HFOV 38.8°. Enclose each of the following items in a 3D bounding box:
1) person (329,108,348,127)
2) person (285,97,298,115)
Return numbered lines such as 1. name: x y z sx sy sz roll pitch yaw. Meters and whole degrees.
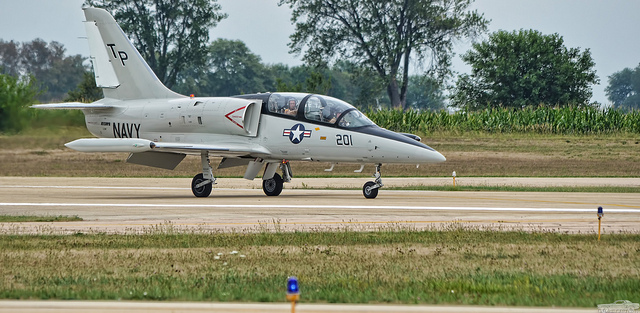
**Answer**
1. person: 1.543 -3.366 77.024 1.428 1.434 0.609 -1 14 0
2. person: -2.432 -4.266 77.661 1.794 1.538 0.988 0 -14 0
